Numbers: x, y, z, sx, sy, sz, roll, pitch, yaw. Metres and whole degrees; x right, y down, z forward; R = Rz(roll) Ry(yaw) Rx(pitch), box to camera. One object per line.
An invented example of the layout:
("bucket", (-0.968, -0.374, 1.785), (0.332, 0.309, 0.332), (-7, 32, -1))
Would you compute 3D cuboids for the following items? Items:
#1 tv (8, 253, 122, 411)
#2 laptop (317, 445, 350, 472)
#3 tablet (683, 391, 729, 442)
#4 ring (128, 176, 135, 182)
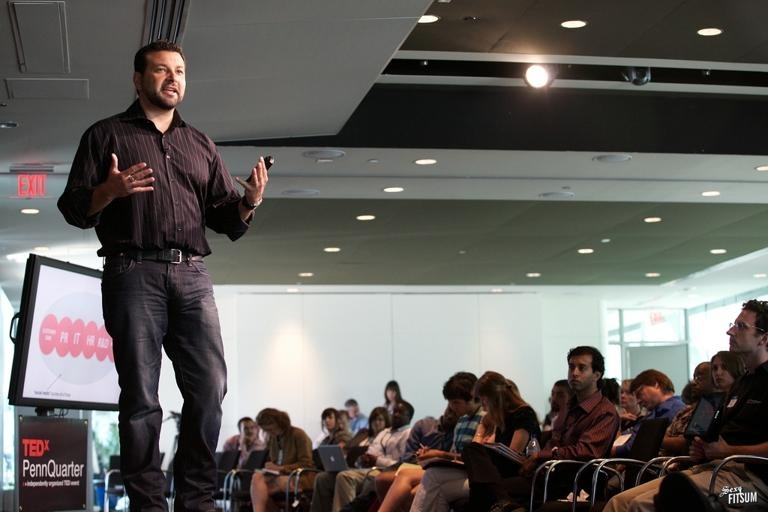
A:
("tv", (-2.333, 0.609, 4.570), (0.173, 1.031, 1.242), (-11, -20, 24))
("laptop", (-0.502, 2.046, 6.250), (0.378, 0.259, 0.267), (2, 7, 10))
("tablet", (1.838, 0.915, 3.529), (0.082, 0.288, 0.195), (41, -21, 0))
("ring", (-0.951, -0.297, 2.347), (0.019, 0.019, 0.006), (1, -7, -21))
